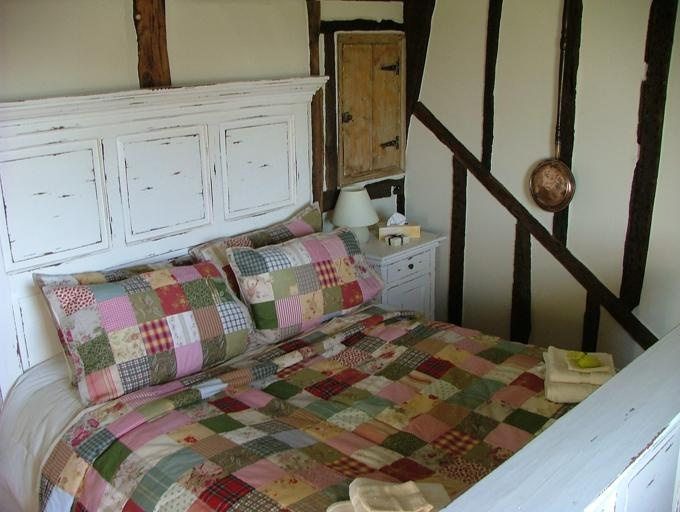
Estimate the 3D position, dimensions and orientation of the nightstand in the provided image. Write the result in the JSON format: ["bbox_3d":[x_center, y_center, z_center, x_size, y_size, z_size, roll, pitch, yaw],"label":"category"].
[{"bbox_3d":[0.387,0.252,3.667,0.652,0.816,0.417,-18,28,-35],"label":"nightstand"}]

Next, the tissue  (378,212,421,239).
[{"bbox_3d":[0.425,-0.197,3.569,0.269,0.167,0.189,2,19,6],"label":"tissue "}]

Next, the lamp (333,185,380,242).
[{"bbox_3d":[0.123,-0.269,3.362,0.358,0.368,0.343,-5,22,2],"label":"lamp"}]

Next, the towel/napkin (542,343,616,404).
[{"bbox_3d":[0.998,0.502,2.187,0.294,0.097,0.272,-1,12,5],"label":"towel/napkin"}]
